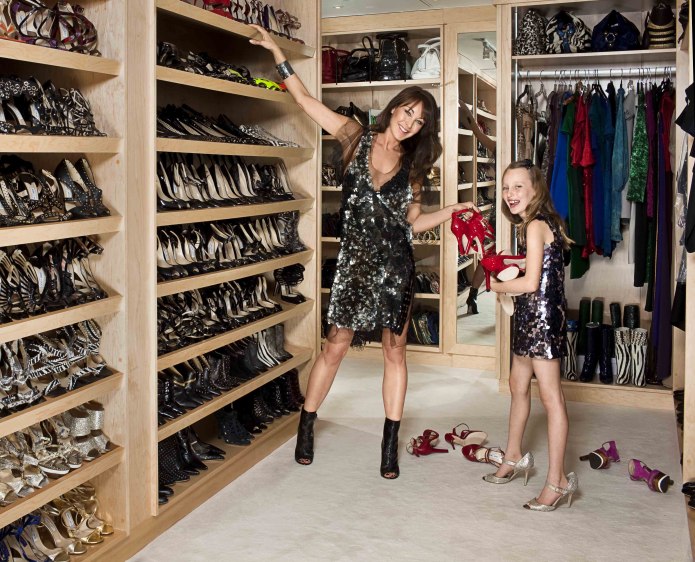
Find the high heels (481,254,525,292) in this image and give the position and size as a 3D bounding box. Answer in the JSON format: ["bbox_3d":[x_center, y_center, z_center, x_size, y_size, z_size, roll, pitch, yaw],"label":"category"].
[{"bbox_3d":[0.740,-0.044,2.508,0.100,0.130,0.325,5,21,42],"label":"high heels"}]

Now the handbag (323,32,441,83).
[{"bbox_3d":[0.296,-2.069,4.733,1.460,0.406,0.501,0,6,9],"label":"handbag"}]

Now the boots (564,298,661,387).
[{"bbox_3d":[2.091,0.482,4.041,0.618,0.598,0.474,4,6,30],"label":"boots"}]

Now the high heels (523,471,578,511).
[{"bbox_3d":[1.010,1.028,2.528,0.324,0.194,0.132,-1,2,-9],"label":"high heels"}]

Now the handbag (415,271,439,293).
[{"bbox_3d":[0.753,0.016,4.798,0.203,0.195,0.086,-4,-2,4],"label":"handbag"}]

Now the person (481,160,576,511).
[{"bbox_3d":[0.931,0.252,2.521,0.447,1.702,0.394,2,5,15],"label":"person"}]

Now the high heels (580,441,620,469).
[{"bbox_3d":[1.458,1.000,2.920,0.234,0.089,0.142,1,22,-42],"label":"high heels"}]

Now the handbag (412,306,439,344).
[{"bbox_3d":[0.751,0.421,4.825,0.272,0.345,0.124,-4,1,-11],"label":"handbag"}]

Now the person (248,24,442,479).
[{"bbox_3d":[0.106,-0.074,2.842,0.923,2.281,0.346,1,5,8],"label":"person"}]

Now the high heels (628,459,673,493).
[{"bbox_3d":[1.562,1.017,2.667,0.075,0.108,0.212,42,-12,-24],"label":"high heels"}]
